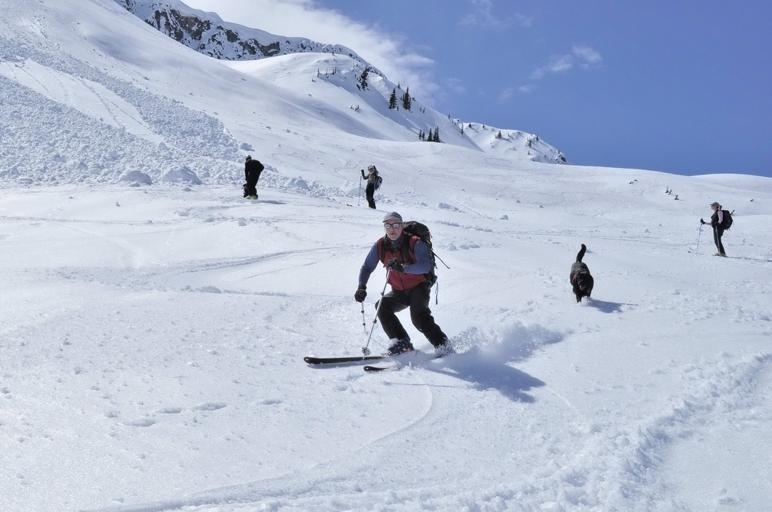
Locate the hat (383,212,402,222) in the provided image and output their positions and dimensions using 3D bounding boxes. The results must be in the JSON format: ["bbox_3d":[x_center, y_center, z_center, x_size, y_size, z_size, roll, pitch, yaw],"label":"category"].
[{"bbox_3d":[0.104,-0.726,13.079,0.345,0.186,0.273,6,12,9],"label":"hat"}]

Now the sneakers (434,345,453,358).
[{"bbox_3d":[1.021,1.768,12.856,0.324,0.133,0.236,-7,0,-43],"label":"sneakers"}]

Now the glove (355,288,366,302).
[{"bbox_3d":[-0.481,0.748,13.079,0.173,0.341,0.404,7,12,1],"label":"glove"}]

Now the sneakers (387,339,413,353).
[{"bbox_3d":[0.258,1.696,13.049,0.400,0.136,0.259,-2,3,-13],"label":"sneakers"}]

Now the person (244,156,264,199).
[{"bbox_3d":[-4.903,-2.915,25.620,0.579,1.521,1.003,3,14,-12],"label":"person"}]
